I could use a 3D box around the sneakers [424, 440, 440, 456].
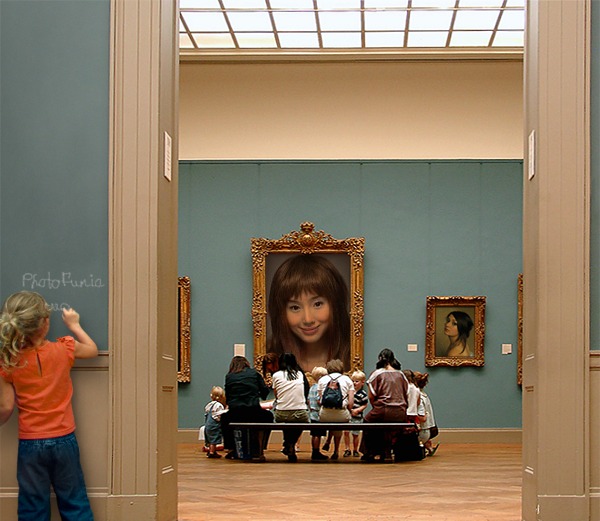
[{"bbox_3d":[2.032,2.964,10.854,0.224,0.147,0.341,-8,-8,-11],"label":"sneakers"}]

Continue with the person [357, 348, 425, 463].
[{"bbox_3d":[1.338,2.103,10.015,0.866,1.609,0.842,0,-5,2],"label":"person"}]

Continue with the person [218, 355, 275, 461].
[{"bbox_3d":[-0.865,2.182,10.464,0.709,1.545,0.763,-5,-11,21],"label":"person"}]

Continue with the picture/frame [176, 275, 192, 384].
[{"bbox_3d":[-2.125,1.283,12.806,0.241,1.974,0.259,1,-4,-10],"label":"picture/frame"}]

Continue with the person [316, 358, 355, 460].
[{"bbox_3d":[0.512,2.130,10.054,0.439,1.379,0.416,2,-10,7],"label":"person"}]

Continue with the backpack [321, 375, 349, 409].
[{"bbox_3d":[0.485,1.885,10.031,0.392,0.658,0.311,0,-13,21],"label":"backpack"}]
